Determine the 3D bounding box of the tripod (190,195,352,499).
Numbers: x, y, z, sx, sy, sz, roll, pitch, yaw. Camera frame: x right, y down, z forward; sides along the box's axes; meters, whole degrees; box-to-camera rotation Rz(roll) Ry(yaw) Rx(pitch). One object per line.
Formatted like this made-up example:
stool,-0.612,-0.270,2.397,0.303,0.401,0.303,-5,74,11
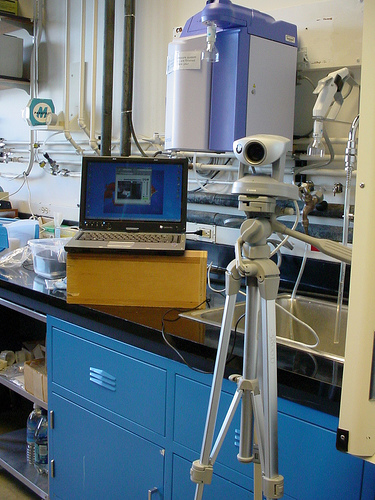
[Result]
tripod,0.129,0.223,0.996,0.282,0.700,0.493,-1,9,-9

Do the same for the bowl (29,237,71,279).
bowl,-0.600,0.052,1.952,0.217,0.157,0.234,-6,-10,-1

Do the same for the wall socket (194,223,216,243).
wall socket,0.087,-0.081,2.117,0.091,0.067,0.006,6,8,37

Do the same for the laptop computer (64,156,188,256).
laptop computer,-0.201,-0.162,1.497,0.406,0.288,0.290,1,17,-1

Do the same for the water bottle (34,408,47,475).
water bottle,-0.703,0.902,2.067,0.064,0.248,0.175,-3,9,-20

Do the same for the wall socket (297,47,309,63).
wall socket,0.472,-0.793,1.775,0.042,0.064,0.063,-5,12,-29

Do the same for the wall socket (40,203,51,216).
wall socket,-1.071,-0.298,3.249,0.094,0.099,0.028,9,14,35
